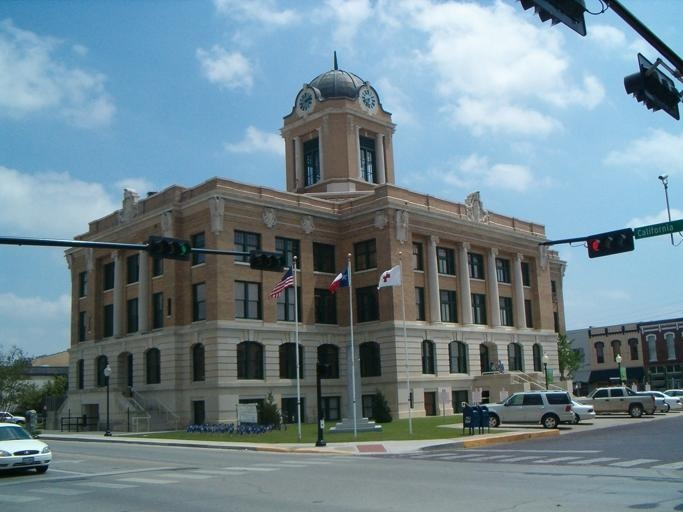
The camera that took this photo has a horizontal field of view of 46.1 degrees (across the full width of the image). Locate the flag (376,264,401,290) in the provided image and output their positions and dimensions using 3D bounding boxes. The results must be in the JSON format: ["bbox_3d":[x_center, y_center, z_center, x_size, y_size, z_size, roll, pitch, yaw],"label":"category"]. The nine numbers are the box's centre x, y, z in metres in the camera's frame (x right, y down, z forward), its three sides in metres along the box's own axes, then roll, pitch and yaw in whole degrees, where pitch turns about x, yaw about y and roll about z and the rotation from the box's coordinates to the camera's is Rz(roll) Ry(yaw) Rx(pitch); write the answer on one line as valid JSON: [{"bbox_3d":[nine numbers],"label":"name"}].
[{"bbox_3d":[3.004,1.340,51.504,1.829,1.707,0.285,-5,-10,43],"label":"flag"}]

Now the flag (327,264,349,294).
[{"bbox_3d":[-0.362,1.473,54.885,0.271,2.278,2.132,5,-9,-35],"label":"flag"}]
